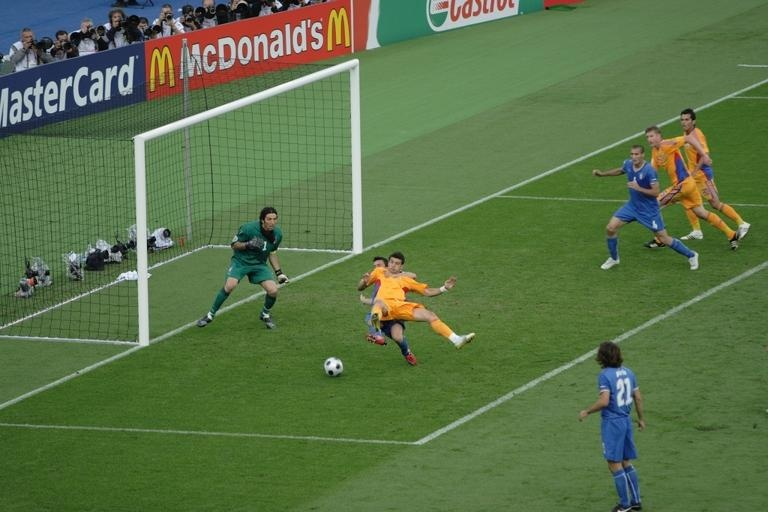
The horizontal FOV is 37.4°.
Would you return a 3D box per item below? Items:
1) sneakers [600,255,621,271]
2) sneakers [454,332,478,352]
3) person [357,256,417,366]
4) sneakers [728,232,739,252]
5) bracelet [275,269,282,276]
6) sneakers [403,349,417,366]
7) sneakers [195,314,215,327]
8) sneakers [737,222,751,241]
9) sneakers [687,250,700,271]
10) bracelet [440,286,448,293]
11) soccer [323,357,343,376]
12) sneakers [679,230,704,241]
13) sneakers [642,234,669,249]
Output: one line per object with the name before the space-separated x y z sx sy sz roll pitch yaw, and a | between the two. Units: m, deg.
sneakers | 4.170 0.150 21.036 0.430 0.168 0.142 -18 42 -4
sneakers | 1.317 1.368 18.111 0.436 0.201 0.157 -35 21 38
person | 0.065 0.686 18.597 0.936 1.046 1.847 -10 37 9
sneakers | 6.627 -0.258 21.535 0.203 0.368 0.142 8 10 4
bracelet | -1.846 0.308 20.082 0.114 0.078 0.105 0 3 -1
sneakers | 0.423 1.671 18.514 0.127 0.131 0.328 -13 13 -17
sneakers | -3.080 1.147 19.660 0.375 0.166 0.163 -36 3 -10
sneakers | 6.844 -0.410 21.694 0.263 0.173 0.488 2 -30 2
sneakers | 5.695 0.112 20.875 0.219 0.402 0.145 2 1 -16
bracelet | 0.948 0.552 17.777 0.104 0.066 0.097 -16 16 5
soccer | -0.795 1.789 18.223 0.309 0.269 0.288 -6 -21 12
sneakers | 5.923 -0.379 22.018 0.521 0.203 0.176 1 17 9
sneakers | 5.233 -0.232 21.891 0.496 0.208 0.168 1 14 9
